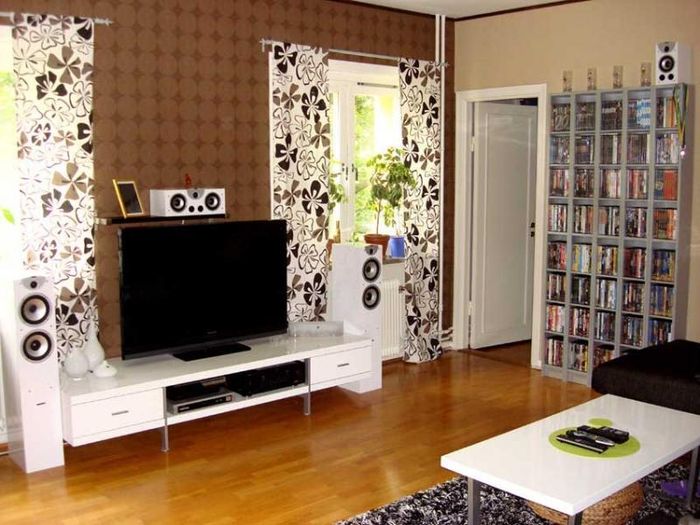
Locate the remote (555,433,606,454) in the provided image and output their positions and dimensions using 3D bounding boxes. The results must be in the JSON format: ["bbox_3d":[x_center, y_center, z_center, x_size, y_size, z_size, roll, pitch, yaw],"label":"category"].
[{"bbox_3d":[1.256,0.967,3.000,0.163,0.040,0.080,7,13,41],"label":"remote"}]

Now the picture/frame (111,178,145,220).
[{"bbox_3d":[-1.765,-0.495,4.350,0.039,0.417,0.291,-17,-1,32],"label":"picture/frame"}]

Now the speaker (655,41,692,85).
[{"bbox_3d":[2.810,-1.699,4.757,0.350,0.355,0.176,0,7,2],"label":"speaker"}]

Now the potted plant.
[{"bbox_3d":[0.428,-0.629,5.950,0.523,1.194,0.599,1,7,7],"label":"potted plant"}]

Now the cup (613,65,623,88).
[{"bbox_3d":[2.480,-1.718,5.129,0.087,0.213,0.152,3,8,23],"label":"cup"}]

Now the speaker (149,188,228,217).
[{"bbox_3d":[-1.318,-0.486,4.491,0.597,0.229,0.280,-4,8,-22],"label":"speaker"}]

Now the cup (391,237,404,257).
[{"bbox_3d":[0.502,-0.157,5.958,0.179,0.197,0.190,-1,3,0],"label":"cup"}]

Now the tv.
[{"bbox_3d":[-1.244,0.233,4.477,1.070,0.808,0.276,-5,5,-38],"label":"tv"}]
